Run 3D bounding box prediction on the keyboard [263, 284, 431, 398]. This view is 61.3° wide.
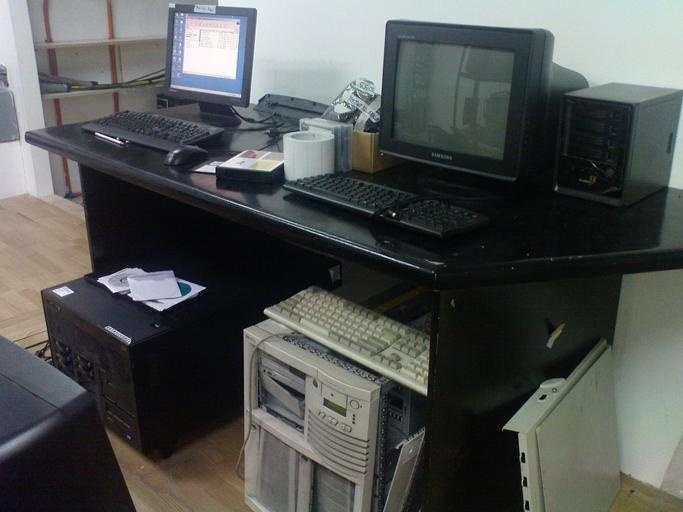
[{"bbox_3d":[0.028,0.178,1.561,0.575,0.073,0.240,19,39,28],"label":"keyboard"}]

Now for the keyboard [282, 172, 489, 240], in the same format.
[{"bbox_3d":[0.132,-0.125,1.372,0.425,0.063,0.153,20,39,41],"label":"keyboard"}]

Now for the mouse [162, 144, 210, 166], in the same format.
[{"bbox_3d":[-0.478,-0.308,1.731,0.061,0.036,0.108,18,28,30],"label":"mouse"}]

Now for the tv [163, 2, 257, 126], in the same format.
[{"bbox_3d":[-0.481,-0.743,2.090,0.369,0.503,0.145,4,27,-1],"label":"tv"}]

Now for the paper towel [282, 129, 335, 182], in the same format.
[{"bbox_3d":[-0.076,-0.272,1.619,0.148,0.114,0.133,-10,26,-18],"label":"paper towel"}]

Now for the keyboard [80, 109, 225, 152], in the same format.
[{"bbox_3d":[-0.629,-0.425,1.968,0.343,0.093,0.324,19,29,31],"label":"keyboard"}]

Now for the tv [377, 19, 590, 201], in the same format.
[{"bbox_3d":[0.411,-0.425,1.649,0.460,0.396,0.515,22,36,36],"label":"tv"}]
